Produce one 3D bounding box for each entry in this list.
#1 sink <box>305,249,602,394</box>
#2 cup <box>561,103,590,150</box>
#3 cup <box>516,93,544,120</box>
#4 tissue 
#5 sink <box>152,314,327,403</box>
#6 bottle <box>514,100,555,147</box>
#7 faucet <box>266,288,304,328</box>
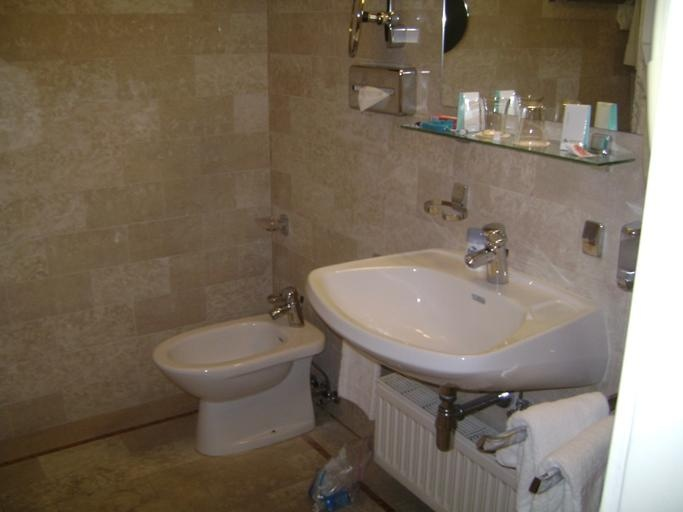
[{"bbox_3d":[0.282,0.202,1.653,0.674,0.278,0.678,-12,19,-32],"label":"sink"},{"bbox_3d":[0.601,-0.330,1.459,0.066,0.107,0.075,4,17,22],"label":"cup"},{"bbox_3d":[0.529,-0.426,1.628,0.065,0.077,0.067,-1,16,0],"label":"cup"},{"bbox_3d":[0.144,-0.615,2.107,0.089,0.187,0.338,-11,18,-28],"label":"tissue "},{"bbox_3d":[-0.460,0.431,2.489,0.582,0.199,0.394,-12,24,-32],"label":"sink"},{"bbox_3d":[0.529,-0.381,1.630,0.124,0.131,0.132,7,19,31],"label":"bottle"},{"bbox_3d":[-0.269,0.226,2.723,0.151,0.232,0.235,-3,18,-9],"label":"faucet"}]
